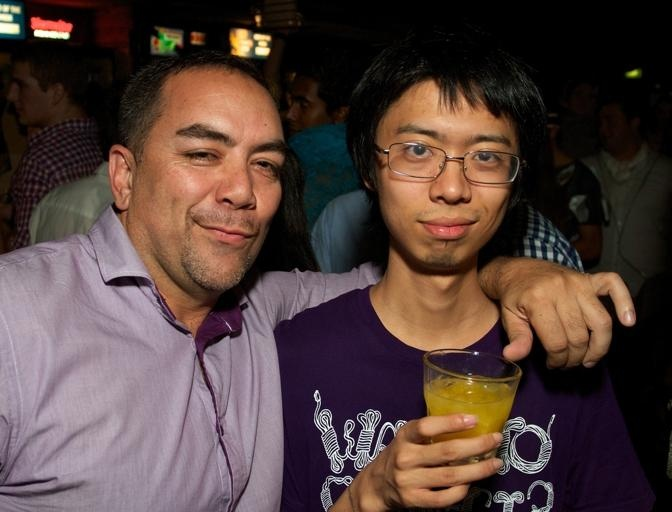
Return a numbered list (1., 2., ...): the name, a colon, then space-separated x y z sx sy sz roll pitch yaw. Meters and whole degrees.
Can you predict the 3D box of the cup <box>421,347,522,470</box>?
1. cup: 0.323 0.415 1.501 0.304 0.304 0.312 1 -1 0
